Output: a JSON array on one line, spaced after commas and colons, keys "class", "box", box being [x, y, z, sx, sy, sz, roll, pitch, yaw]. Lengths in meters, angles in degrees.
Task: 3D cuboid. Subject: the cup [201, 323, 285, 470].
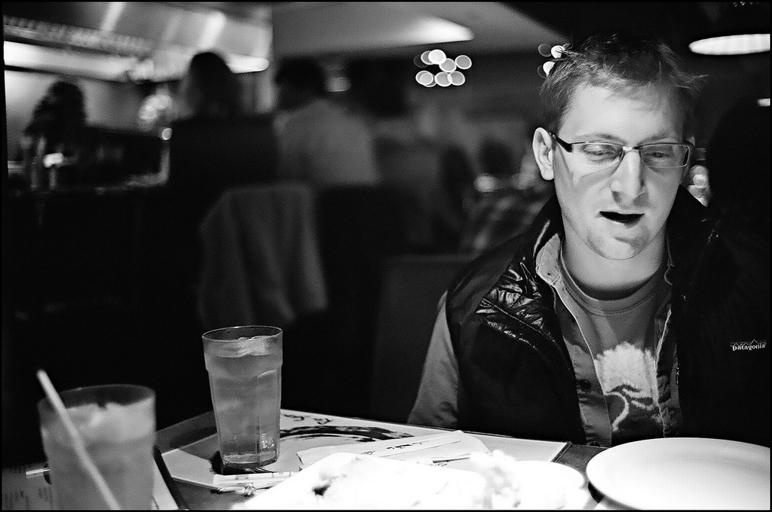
[{"class": "cup", "box": [-0.293, 0.302, 1.551, 0.165, 0.282, 0.150, -9, 10, -34]}]

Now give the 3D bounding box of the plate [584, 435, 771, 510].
[{"class": "plate", "box": [0.571, 0.421, 1.377, 0.376, 0.056, 0.214, -3, 8, -2]}]

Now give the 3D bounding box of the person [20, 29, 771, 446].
[{"class": "person", "box": [0.105, 0.096, 1.935, 1.482, 1.336, 0.774, 0, 3, -1]}]

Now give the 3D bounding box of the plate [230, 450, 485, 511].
[{"class": "plate", "box": [-0.041, 0.436, 1.353, 0.455, 0.066, 0.176, -2, 8, 7]}]

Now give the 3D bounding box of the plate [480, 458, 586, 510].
[{"class": "plate", "box": [0.272, 0.415, 1.362, 0.209, 0.090, 0.157, -1, 9, 13]}]
